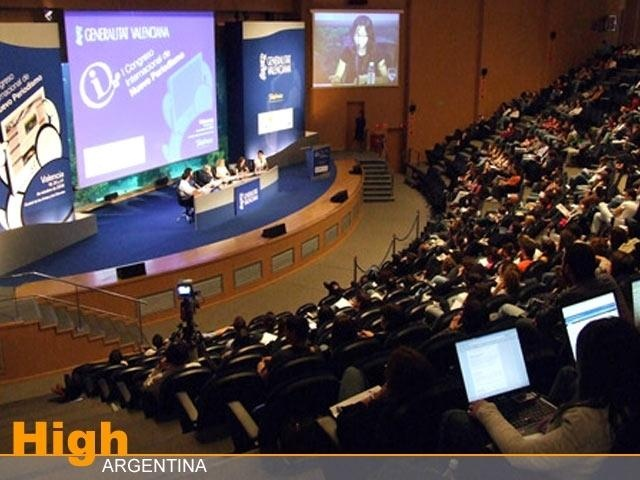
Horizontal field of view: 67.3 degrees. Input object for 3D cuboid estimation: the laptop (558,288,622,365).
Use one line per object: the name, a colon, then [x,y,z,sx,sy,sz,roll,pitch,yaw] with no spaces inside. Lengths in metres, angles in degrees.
laptop: [1.910,0.615,3.397,0.446,0.335,0.352,-18,15,0]

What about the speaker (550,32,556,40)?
speaker: [11.670,-10.266,24.213,0.348,0.377,0.105,2,10,-13]

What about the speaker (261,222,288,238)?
speaker: [-1.267,-0.202,12.885,0.497,0.406,0.165,-19,7,-32]

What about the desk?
desk: [-2.374,-1.339,14.791,0.519,1.002,4.063,10,23,26]

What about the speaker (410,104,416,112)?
speaker: [4.625,-6.613,24.056,0.321,0.328,0.170,-11,19,-35]
